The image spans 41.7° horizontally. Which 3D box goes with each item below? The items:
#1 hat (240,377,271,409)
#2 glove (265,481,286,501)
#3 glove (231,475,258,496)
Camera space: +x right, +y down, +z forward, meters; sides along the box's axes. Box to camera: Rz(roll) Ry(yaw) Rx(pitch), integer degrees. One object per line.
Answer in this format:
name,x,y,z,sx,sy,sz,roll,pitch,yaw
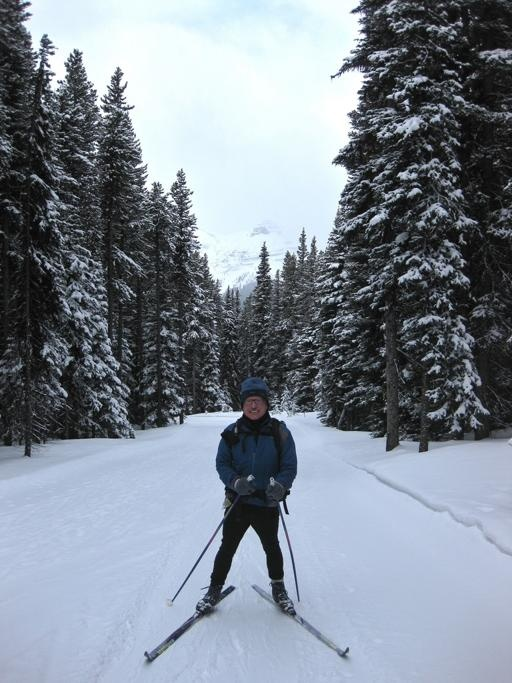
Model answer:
hat,-0.007,0.600,8.046,0.257,0.296,0.359,2,-24,0
glove,0.228,1.683,7.592,0.228,0.244,0.147,-1,3,-5
glove,-0.130,1.656,7.644,0.251,0.277,0.207,-1,3,-1
